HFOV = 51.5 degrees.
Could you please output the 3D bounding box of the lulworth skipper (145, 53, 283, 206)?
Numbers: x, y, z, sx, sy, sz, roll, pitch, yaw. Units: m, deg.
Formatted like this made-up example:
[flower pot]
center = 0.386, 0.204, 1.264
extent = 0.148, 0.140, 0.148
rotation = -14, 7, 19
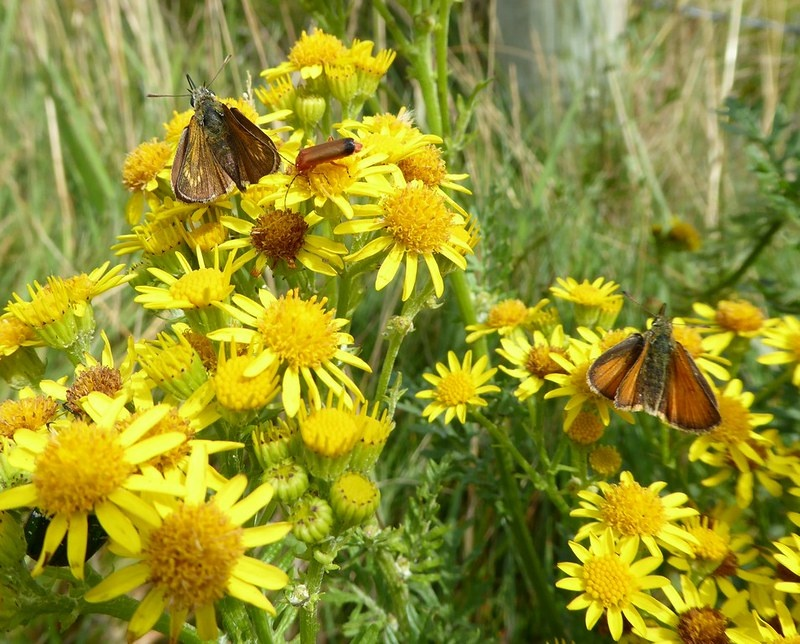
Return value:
[lulworth skipper]
center = -0.744, -0.764, 3.412
extent = 0.426, 0.536, 0.181
rotation = -10, 32, 43
